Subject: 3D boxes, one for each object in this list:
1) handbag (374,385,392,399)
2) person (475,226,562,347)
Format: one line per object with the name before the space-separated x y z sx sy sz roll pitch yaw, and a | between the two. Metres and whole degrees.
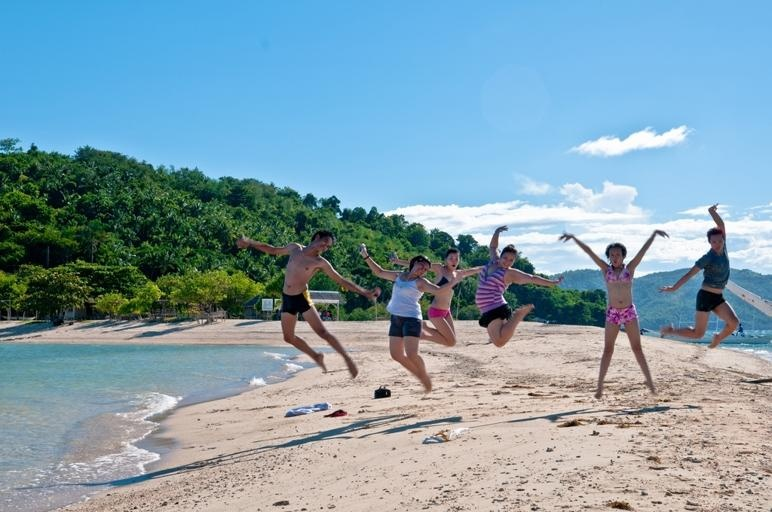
handbag | -0.073 3.123 14.187 0.275 0.239 0.262 4 -16 -9
person | 2.325 0.591 12.054 1.032 2.247 1.361 -3 -2 -38
